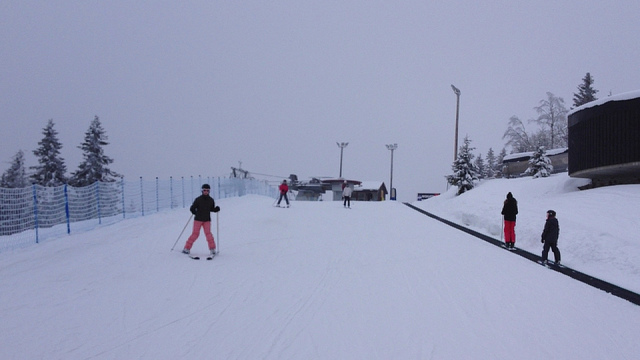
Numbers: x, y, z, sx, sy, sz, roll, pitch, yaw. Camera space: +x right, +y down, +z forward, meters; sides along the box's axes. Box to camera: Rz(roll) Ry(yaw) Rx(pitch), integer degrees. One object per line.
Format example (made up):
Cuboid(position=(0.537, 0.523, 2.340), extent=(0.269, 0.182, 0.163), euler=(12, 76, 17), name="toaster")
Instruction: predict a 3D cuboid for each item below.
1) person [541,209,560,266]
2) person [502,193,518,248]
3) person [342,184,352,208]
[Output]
Cuboid(position=(11.218, 2.826, 21.970), extent=(1.131, 2.542, 0.698), euler=(-2, 1, -26), name="person")
Cuboid(position=(10.104, 2.134, 23.885), extent=(0.701, 2.838, 0.697), euler=(-2, 1, 9), name="person")
Cuboid(position=(2.086, 1.258, 35.111), extent=(0.535, 1.807, 1.325), euler=(-2, 1, 5), name="person")
